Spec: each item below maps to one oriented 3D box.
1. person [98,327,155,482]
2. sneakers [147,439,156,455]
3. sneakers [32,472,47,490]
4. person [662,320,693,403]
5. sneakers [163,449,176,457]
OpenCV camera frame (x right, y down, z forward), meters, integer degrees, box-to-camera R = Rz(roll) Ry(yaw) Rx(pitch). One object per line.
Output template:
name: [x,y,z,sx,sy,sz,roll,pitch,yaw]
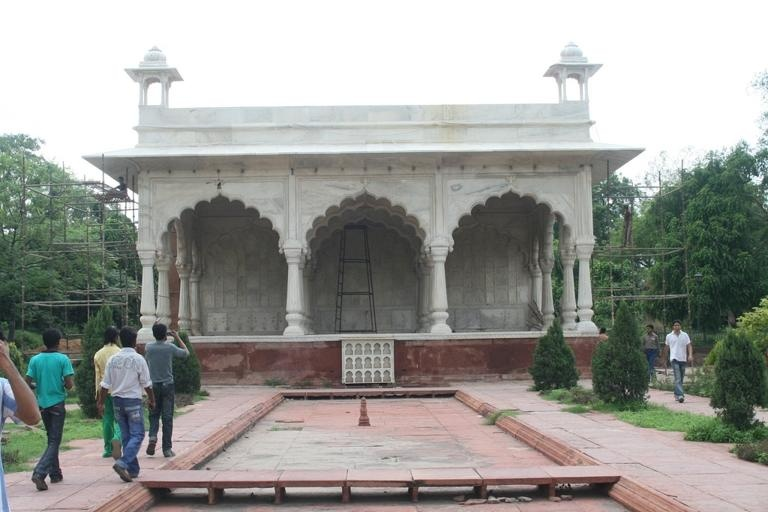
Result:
person: [-4.798,2.726,19.098,1.018,2.741,1.332,0,1,-14]
sneakers: [-4.488,3.708,19.804,0.143,0.380,0.163,7,9,-9]
sneakers: [-6.156,4.057,18.293,0.168,0.167,0.406,-10,-44,-8]
person: [7.183,2.522,24.729,0.583,1.855,1.436,1,1,15]
sneakers: [-4.120,3.824,19.731,0.228,0.140,0.167,0,1,-13]
